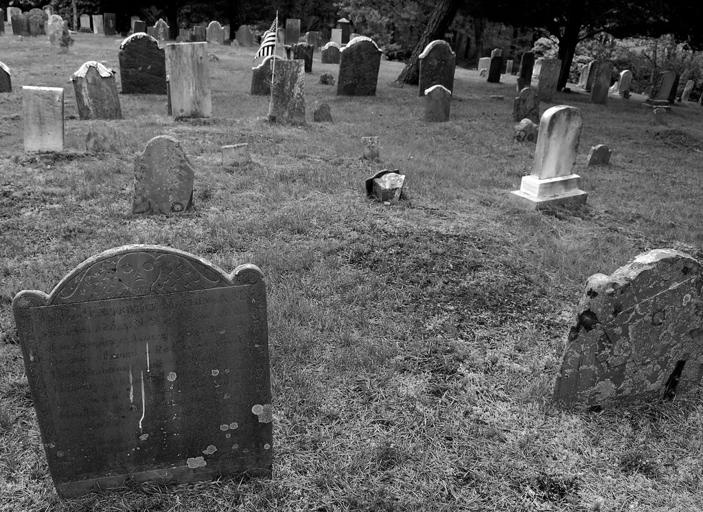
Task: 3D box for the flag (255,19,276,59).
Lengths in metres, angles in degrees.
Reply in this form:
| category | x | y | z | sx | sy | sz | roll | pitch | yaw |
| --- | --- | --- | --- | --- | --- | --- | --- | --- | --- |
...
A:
| category | x | y | z | sx | sy | sz | roll | pitch | yaw |
| --- | --- | --- | --- | --- | --- | --- | --- | --- | --- |
| flag | -2.643 | -7.024 | 22.087 | 0.706 | 0.231 | 2.118 | 4 | 57 | 4 |
